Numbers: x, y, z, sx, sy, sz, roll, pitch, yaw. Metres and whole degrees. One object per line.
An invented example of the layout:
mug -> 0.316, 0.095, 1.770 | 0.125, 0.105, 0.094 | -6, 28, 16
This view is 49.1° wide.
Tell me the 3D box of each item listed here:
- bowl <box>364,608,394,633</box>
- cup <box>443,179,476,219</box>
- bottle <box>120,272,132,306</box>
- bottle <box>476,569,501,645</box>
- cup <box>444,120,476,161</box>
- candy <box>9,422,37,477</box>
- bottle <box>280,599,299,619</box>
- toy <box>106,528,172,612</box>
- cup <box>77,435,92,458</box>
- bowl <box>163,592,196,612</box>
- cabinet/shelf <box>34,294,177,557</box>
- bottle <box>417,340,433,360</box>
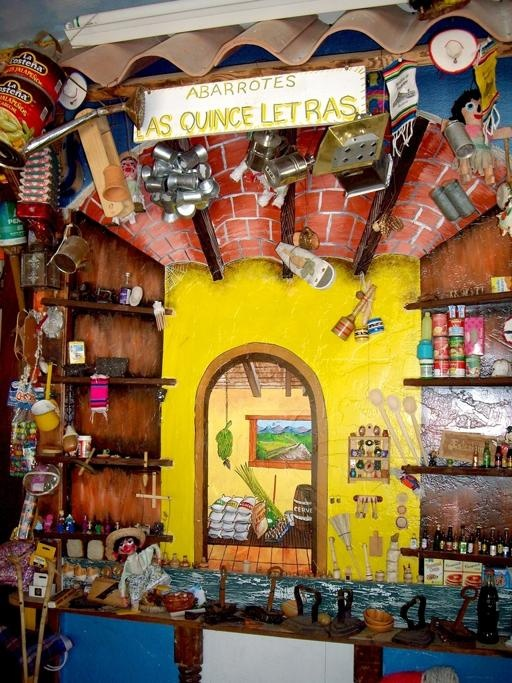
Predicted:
bowl -> 0.825, 1.890, 3.783 | 0.199, 0.114, 0.201 | 2, -12, 0
cup -> 1.242, -0.873, 3.447 | 0.184, 0.184, 0.086 | 10, -16, -34
bottle -> -1.022, -0.411, 4.429 | 0.080, 0.299, 0.148 | 6, -14, -16
bottle -> 1.469, 1.681, 3.576 | 0.139, 0.424, 0.245 | -3, -14, 21
cup -> 1.136, -1.130, 3.148 | 0.128, 0.151, 0.217 | -7, -15, 34
candy -> -1.849, 0.857, 4.472 | 0.282, 0.439, 0.158 | -10, -18, 42
bottle -> 0.235, 1.886, 3.924 | 0.090, 0.094, 0.129 | 4, -13, -9
toy -> -0.881, 1.692, 4.180 | 0.474, 0.542, 0.379 | 4, -13, -9
cup -> -1.333, 0.833, 4.373 | 0.098, 0.173, 0.121 | 5, -13, -11
bowl -> -0.551, 1.879, 4.046 | 0.143, 0.055, 0.138 | 0, -3, 0
cabinet/shelf -> -1.122, 0.623, 4.393 | 1.039, 1.809, 0.637 | 3, -13, -6
bottle -> 1.129, 0.063, 3.752 | 0.126, 0.131, 0.122 | -1, -3, 17
